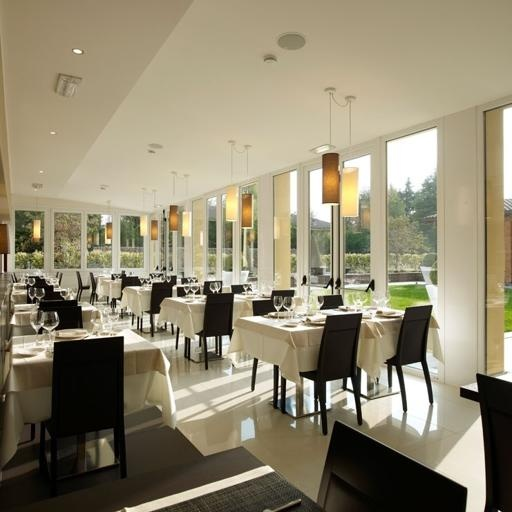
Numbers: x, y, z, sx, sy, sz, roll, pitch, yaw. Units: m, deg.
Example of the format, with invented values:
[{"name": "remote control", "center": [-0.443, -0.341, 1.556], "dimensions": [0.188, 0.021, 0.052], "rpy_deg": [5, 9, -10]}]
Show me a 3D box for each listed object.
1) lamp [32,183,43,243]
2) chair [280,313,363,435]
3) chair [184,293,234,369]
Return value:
[{"name": "lamp", "center": [-5.448, -0.997, 11.157], "dimensions": [0.219, 1.261, 2.964], "rpy_deg": [0, 2, -27]}, {"name": "chair", "center": [0.565, 0.891, 3.606], "dimensions": [0.630, 0.885, 0.507], "rpy_deg": [0, 2, -25]}, {"name": "chair", "center": [-0.529, 0.840, 5.275], "dimensions": [0.536, 0.820, 0.621], "rpy_deg": [0, 2, -28]}]
